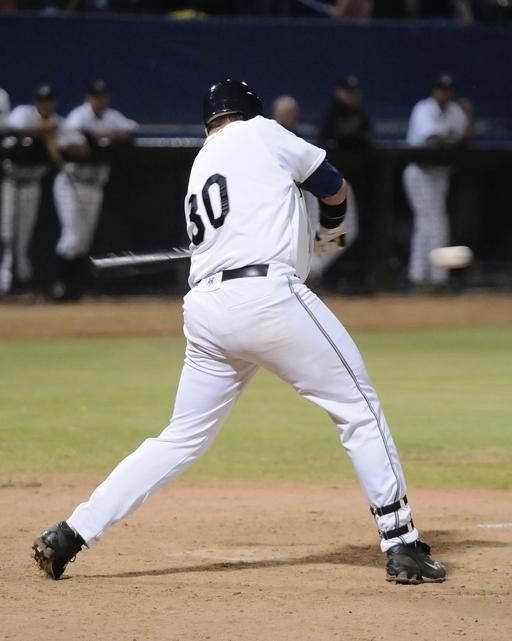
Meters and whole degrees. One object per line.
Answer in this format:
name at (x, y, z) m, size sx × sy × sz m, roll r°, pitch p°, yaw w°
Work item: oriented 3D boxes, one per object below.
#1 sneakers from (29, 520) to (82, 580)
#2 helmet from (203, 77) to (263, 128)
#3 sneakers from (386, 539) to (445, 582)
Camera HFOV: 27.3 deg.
sneakers at (-0.587, 0.677, 3.164) m, size 0.190 × 0.072 × 0.137 m, roll -29°, pitch 33°, yaw -11°
helmet at (-0.103, -0.678, 3.296) m, size 0.171 × 0.152 × 0.183 m, roll -9°, pitch 16°, yaw -4°
sneakers at (0.474, 0.728, 3.173) m, size 0.090 × 0.136 × 0.262 m, roll -21°, pitch -29°, yaw 35°
